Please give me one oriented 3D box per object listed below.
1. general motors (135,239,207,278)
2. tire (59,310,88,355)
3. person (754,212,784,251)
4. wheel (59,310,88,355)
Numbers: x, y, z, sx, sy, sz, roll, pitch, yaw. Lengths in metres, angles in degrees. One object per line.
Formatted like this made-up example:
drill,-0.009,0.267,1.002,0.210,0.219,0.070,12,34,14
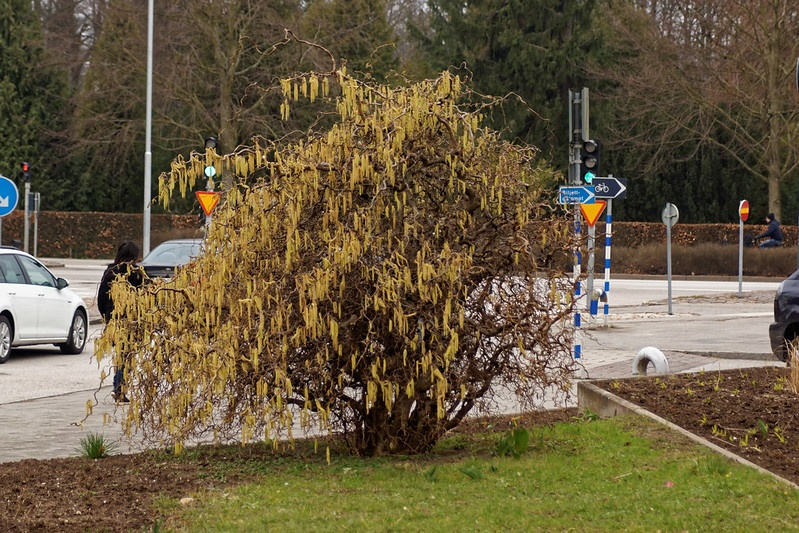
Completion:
general motors,-7.223,-0.265,43.377,1.545,1.245,3.504,0,9,-2
tire,-8.900,1.747,38.327,0.329,1.118,1.059,-2,-5,20
person,15.223,-1.484,58.529,0.882,1.389,2.674,-2,3,13
wheel,-8.900,1.747,38.327,0.329,1.118,1.059,-2,-5,20
